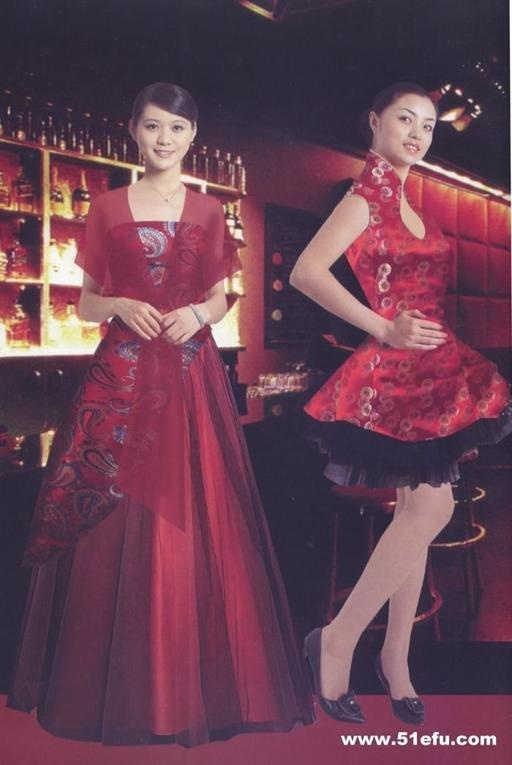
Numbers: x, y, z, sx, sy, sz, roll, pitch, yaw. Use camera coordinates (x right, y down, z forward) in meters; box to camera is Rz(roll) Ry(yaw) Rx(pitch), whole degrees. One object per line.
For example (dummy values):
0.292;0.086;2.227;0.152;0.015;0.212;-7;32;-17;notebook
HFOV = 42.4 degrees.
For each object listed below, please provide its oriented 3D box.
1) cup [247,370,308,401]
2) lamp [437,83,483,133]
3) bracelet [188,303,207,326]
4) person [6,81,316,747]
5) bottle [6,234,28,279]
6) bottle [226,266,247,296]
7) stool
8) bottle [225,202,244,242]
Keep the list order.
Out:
0.064;0.014;1.856;0.120;0.046;0.096;-12;-3;11;cup
0.531;-0.737;1.782;0.128;0.118;0.037;27;-6;-23;lamp
-0.135;-0.159;1.565;0.019;0.048;0.040;-35;6;1;bracelet
-0.168;0.080;1.567;0.710;1.557;0.327;7;8;7;person
-0.833;-0.435;2.312;0.115;0.148;0.049;-3;-4;-22;bottle
-0.055;-0.271;1.797;0.017;0.060;0.065;14;21;37;bottle
0.391;0.455;2.161;0.538;0.669;0.529;-2;4;5;stool
-0.062;-0.443;1.797;0.026;0.106;0.111;1;2;29;bottle
